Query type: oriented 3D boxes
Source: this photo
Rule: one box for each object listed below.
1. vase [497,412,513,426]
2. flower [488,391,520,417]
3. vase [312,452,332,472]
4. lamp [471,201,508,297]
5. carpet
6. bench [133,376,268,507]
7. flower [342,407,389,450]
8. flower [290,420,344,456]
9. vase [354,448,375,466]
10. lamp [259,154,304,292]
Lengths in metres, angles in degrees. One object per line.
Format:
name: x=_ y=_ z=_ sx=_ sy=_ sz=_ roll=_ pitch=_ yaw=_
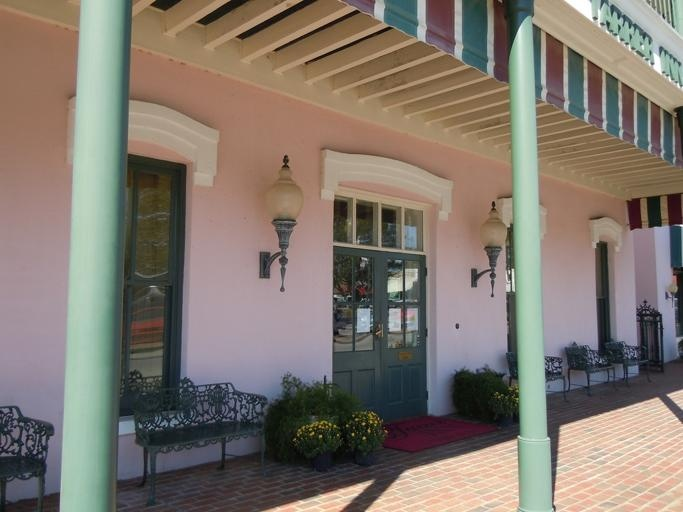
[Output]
vase: x=2.424 y=2.404 z=9.355 sx=0.173 sy=0.148 sz=0.187 roll=1 pitch=-7 yaw=-5
flower: x=2.385 y=2.191 z=9.289 sx=0.397 sy=0.320 sz=0.195 roll=1 pitch=1 yaw=3
vase: x=-0.230 y=2.349 z=7.228 sx=0.185 sy=0.188 sz=0.219 roll=-1 pitch=-12 yaw=5
lamp: x=2.507 y=-0.139 z=10.579 sx=0.475 sy=1.067 sz=0.520 roll=0 pitch=1 yaw=-41
carpet: x=1.232 y=2.469 z=8.987 sx=2.021 sy=0.089 sz=1.264 roll=0 pitch=2 yaw=-38
bench: x=-1.607 y=1.943 z=7.098 sx=1.495 sy=1.040 sz=0.861 roll=0 pitch=1 yaw=-40
flower: x=0.320 y=2.081 z=7.489 sx=0.430 sy=0.513 sz=0.438 roll=11 pitch=-6 yaw=-36
flower: x=-0.279 y=2.066 z=7.184 sx=0.380 sy=0.330 sz=0.426 roll=-1 pitch=4 yaw=-19
vase: x=0.288 y=2.373 z=7.515 sx=0.270 sy=0.191 sz=0.228 roll=1 pitch=1 yaw=-11
lamp: x=-0.778 y=-0.416 z=7.971 sx=0.457 sy=1.749 sz=0.522 roll=0 pitch=1 yaw=-29
